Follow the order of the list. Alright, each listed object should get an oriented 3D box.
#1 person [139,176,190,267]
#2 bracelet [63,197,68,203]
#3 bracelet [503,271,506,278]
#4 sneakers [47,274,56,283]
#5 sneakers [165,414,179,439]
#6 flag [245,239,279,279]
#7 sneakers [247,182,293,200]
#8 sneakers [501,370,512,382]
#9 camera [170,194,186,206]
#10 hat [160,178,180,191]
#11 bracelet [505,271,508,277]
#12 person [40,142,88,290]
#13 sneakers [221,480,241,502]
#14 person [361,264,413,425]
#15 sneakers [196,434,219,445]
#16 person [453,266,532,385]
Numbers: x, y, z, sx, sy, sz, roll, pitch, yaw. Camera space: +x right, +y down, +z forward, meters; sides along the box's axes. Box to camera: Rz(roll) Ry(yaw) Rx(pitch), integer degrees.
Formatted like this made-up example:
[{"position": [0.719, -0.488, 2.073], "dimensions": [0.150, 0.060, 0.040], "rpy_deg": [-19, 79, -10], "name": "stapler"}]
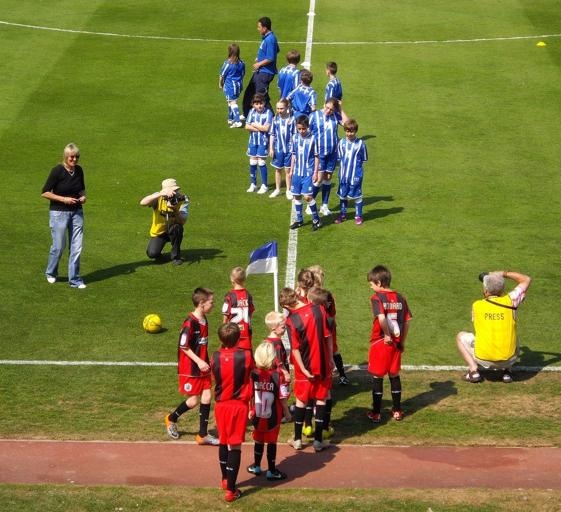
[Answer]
[{"position": [-1.994, -0.641, 22.165], "dimensions": [0.737, 1.512, 1.696], "rpy_deg": [-1, 10, -5], "name": "person"}, {"position": [-3.474, -0.902, 20.798], "dimensions": [0.113, 0.120, 0.118], "rpy_deg": [-1, 10, -9], "name": "bracelet"}, {"position": [3.316, 0.271, 19.200], "dimensions": [0.074, 0.094, 0.103], "rpy_deg": [5, -25, 11], "name": "bracelet"}, {"position": [-3.847, 0.380, 21.519], "dimensions": [0.109, 0.136, 0.043], "rpy_deg": [-8, -1, 6], "name": "sneakers"}, {"position": [-1.483, 2.358, 17.672], "dimensions": [0.143, 0.359, 0.165], "rpy_deg": [-10, -15, -48], "name": "sneakers"}, {"position": [-0.305, 0.073, 20.154], "dimensions": [0.763, 0.773, 0.135], "rpy_deg": [-5, 42, -10], "name": "flag"}, {"position": [-0.236, -1.268, 25.119], "dimensions": [0.613, 0.246, 0.177], "rpy_deg": [17, 18, -22], "name": "sneakers"}, {"position": [3.302, 1.769, 18.837], "dimensions": [0.105, 0.085, 0.197], "rpy_deg": [4, 23, 9], "name": "sneakers"}, {"position": [-1.750, -0.957, 21.694], "dimensions": [0.219, 0.127, 0.228], "rpy_deg": [-21, 11, -7], "name": "camera"}, {"position": [-1.878, -1.200, 21.520], "dimensions": [0.347, 0.141, 0.339], "rpy_deg": [1, 3, 5], "name": "hat"}, {"position": [3.294, 0.271, 18.884], "dimensions": [0.043, 0.057, 0.064], "rpy_deg": [0, 11, 9], "name": "bracelet"}, {"position": [-3.591, -0.678, 21.298], "dimensions": [0.665, 2.423, 1.222], "rpy_deg": [-2, 10, -10], "name": "person"}, {"position": [-0.657, 3.069, 16.640], "dimensions": [0.146, 0.136, 0.334], "rpy_deg": [3, 7, 11], "name": "sneakers"}, {"position": [1.485, 1.221, 18.013], "dimensions": [0.575, 2.164, 0.531], "rpy_deg": [1, 10, 3], "name": "person"}, {"position": [-1.000, 2.507, 17.558], "dimensions": [0.358, 0.139, 0.123], "rpy_deg": [1, 12, -1], "name": "sneakers"}, {"position": [3.172, 1.053, 19.099], "dimensions": [1.114, 1.648, 0.923], "rpy_deg": [-3, 2, 3], "name": "person"}]
